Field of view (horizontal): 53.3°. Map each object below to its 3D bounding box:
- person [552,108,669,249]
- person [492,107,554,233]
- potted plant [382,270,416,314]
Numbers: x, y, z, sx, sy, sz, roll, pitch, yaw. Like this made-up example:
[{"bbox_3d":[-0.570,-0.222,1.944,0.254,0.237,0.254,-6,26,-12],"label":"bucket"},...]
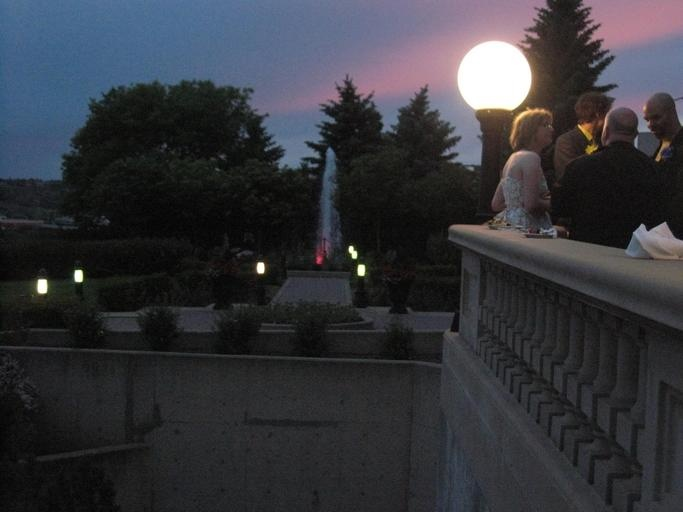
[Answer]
[{"bbox_3d":[2.282,-0.675,5.846,0.875,1.171,0.295,1,7,22],"label":"person"},{"bbox_3d":[1.800,-0.866,6.695,0.573,1.194,1.019,0,7,15],"label":"person"},{"bbox_3d":[1.494,0.948,18.612,0.947,1.104,0.913,1,-1,-24],"label":"potted plant"}]
